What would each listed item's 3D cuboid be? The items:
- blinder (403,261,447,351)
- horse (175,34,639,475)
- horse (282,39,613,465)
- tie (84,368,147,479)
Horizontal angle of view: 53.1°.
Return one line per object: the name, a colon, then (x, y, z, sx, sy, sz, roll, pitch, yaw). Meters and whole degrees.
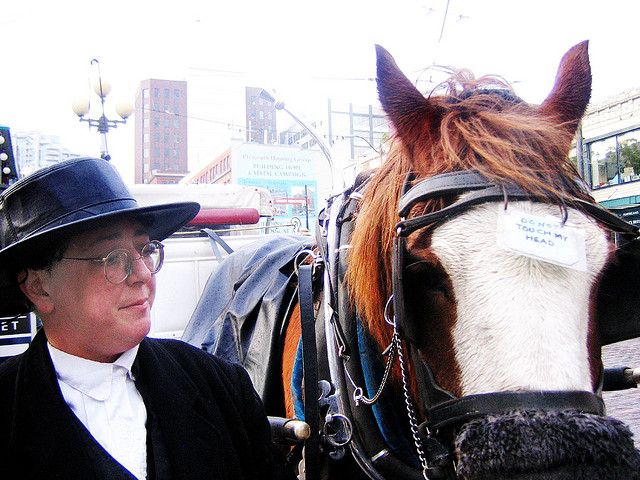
blinder: (0.354, 0.227, 2.326, 0.156, 0.301, 0.173, 2, 11, 1)
horse: (0.112, 0.268, 3.306, 1.091, 1.653, 2.952, 2, -6, -13)
horse: (0.599, -0.116, 2.442, 0.881, 1.301, 0.636, -1, -1, 37)
tie: (-0.693, 0.644, 2.200, 0.193, 0.374, 0.087, -2, -28, -31)
